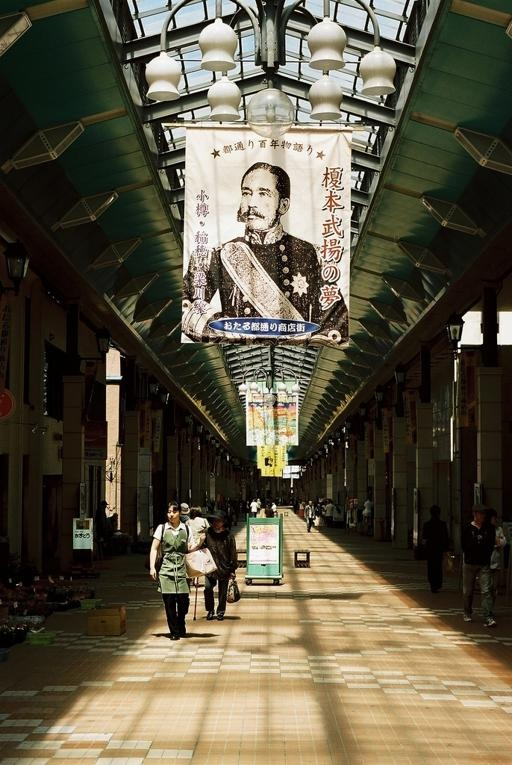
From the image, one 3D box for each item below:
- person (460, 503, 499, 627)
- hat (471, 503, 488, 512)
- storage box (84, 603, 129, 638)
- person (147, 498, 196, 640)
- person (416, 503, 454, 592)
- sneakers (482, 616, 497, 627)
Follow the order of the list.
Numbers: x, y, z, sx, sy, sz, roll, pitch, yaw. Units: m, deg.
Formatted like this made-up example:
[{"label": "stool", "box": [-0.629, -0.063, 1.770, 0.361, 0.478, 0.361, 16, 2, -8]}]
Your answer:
[{"label": "person", "box": [3.234, 2.628, 8.283, 0.490, 1.601, 0.629, -6, -11, 22]}, {"label": "hat", "box": [3.233, 1.807, 8.333, 0.180, 0.138, 0.247, 4, -14, -19]}, {"label": "storage box", "box": [-1.906, 3.082, 7.517, 0.414, 0.350, 0.434, 0, -4, 3]}, {"label": "person", "box": [-1.063, 2.329, 7.169, 0.469, 1.655, 0.673, -1, -11, -6]}, {"label": "person", "box": [3.984, 3.630, 12.669, 0.552, 1.804, 1.287, -5, -11, 16]}, {"label": "sneakers", "box": [3.322, 3.367, 8.137, 0.090, 0.130, 0.275, 0, -19, 2]}]
